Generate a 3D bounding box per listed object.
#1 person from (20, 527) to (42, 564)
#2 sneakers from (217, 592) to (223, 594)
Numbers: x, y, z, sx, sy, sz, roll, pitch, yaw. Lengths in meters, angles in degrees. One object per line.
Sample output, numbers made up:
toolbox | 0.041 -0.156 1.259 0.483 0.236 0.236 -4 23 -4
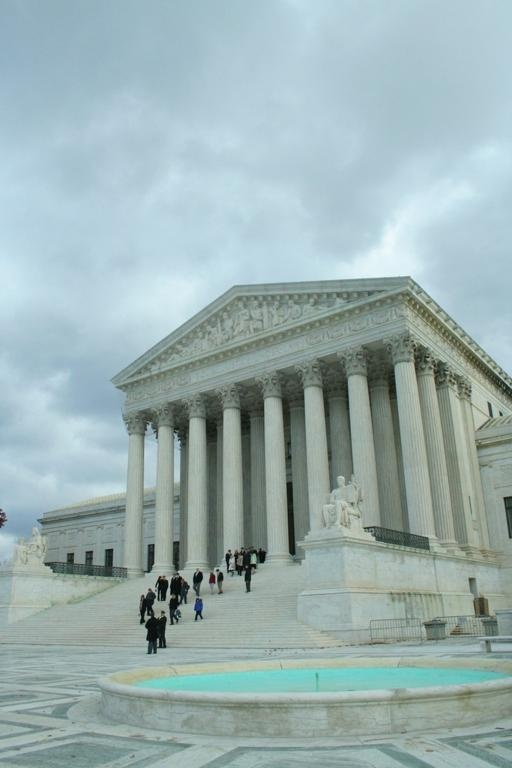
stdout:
person | -12.619 9.112 32.080 0.832 1.943 1.400 -6 -16 9
sneakers | -1.764 9.984 27.399 0.265 0.179 0.107 -4 -13 24
